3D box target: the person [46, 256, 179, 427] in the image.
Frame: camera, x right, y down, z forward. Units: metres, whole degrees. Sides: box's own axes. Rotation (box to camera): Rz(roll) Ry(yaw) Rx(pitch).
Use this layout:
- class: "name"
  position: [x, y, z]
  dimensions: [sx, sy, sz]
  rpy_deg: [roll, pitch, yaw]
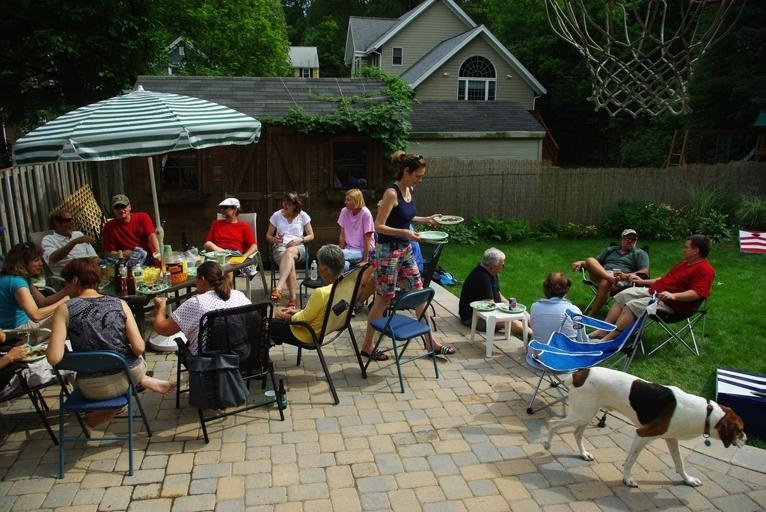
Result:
- class: "person"
  position: [-2.871, 0.994, 5.815]
  dimensions: [0.893, 1.911, 0.778]
  rpy_deg: [-5, 14, -13]

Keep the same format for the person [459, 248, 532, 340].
- class: "person"
  position: [1.444, 0.472, 8.190]
  dimensions: [1.441, 1.395, 1.022]
  rpy_deg: [3, 13, 3]

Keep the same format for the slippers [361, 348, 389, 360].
- class: "slippers"
  position: [-0.099, 1.332, 7.411]
  dimensions: [0.308, 0.076, 0.167]
  rpy_deg: [2, 5, 40]

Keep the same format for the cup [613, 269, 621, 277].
- class: "cup"
  position: [3.651, 0.258, 8.772]
  dimensions: [0.101, 0.091, 0.096]
  rpy_deg: [-1, 10, 0]

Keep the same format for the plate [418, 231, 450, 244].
- class: "plate"
  position: [0.863, -0.354, 9.592]
  dimensions: [0.440, 0.068, 0.346]
  rpy_deg: [2, 13, 17]

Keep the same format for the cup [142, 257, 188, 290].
- class: "cup"
  position: [-2.791, 0.217, 7.178]
  dimensions: [0.577, 0.341, 0.319]
  rpy_deg: [-8, 13, -33]

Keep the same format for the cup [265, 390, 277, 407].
- class: "cup"
  position: [-1.328, 1.675, 6.524]
  dimensions: [0.189, 0.134, 0.185]
  rpy_deg: [0, 3, 0]

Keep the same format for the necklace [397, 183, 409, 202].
- class: "necklace"
  position: [0.246, -0.858, 7.301]
  dimensions: [0.148, 0.239, 0.262]
  rpy_deg: [0, 4, 35]

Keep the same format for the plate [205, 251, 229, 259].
- class: "plate"
  position: [-2.341, -0.022, 7.854]
  dimensions: [0.305, 0.102, 0.186]
  rpy_deg: [1, 4, -14]

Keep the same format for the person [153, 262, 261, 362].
- class: "person"
  position: [-2.074, 0.663, 6.435]
  dimensions: [1.022, 1.336, 0.749]
  rpy_deg: [-12, 44, -45]

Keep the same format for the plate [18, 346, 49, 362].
- class: "plate"
  position: [-3.632, 1.020, 5.854]
  dimensions: [0.202, 0.146, 0.281]
  rpy_deg: [-7, 14, -24]

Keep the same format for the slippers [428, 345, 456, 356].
- class: "slippers"
  position: [0.798, 1.305, 7.691]
  dimensions: [0.365, 0.098, 0.147]
  rpy_deg: [-2, 12, 3]
